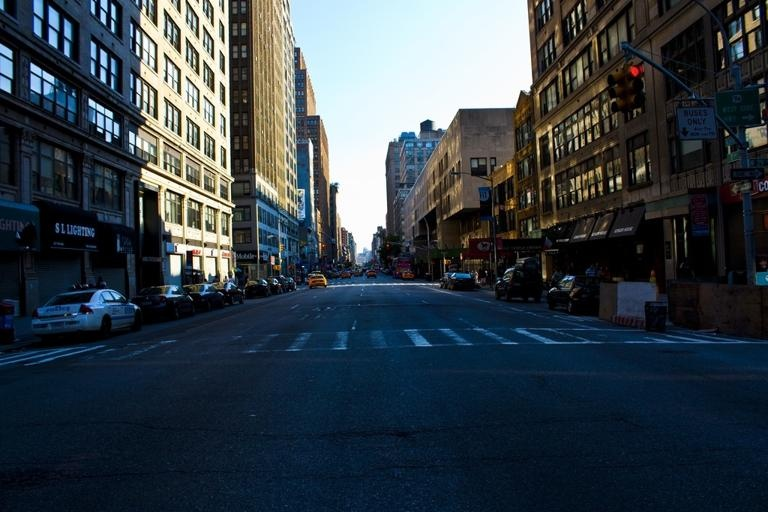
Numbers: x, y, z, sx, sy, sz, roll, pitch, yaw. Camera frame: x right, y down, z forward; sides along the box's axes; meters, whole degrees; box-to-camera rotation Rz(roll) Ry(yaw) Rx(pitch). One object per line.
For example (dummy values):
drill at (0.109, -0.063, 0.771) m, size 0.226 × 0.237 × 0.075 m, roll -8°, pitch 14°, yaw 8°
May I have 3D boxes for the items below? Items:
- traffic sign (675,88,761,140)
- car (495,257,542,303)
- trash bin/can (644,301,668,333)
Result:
traffic sign at (11.985, -5.023, 23.796) m, size 2.042 × 1.614 × 2.402 m, roll -1°, pitch -6°, yaw -4°
car at (8.460, 1.610, 40.419) m, size 2.184 × 2.735 × 3.267 m, roll -2°, pitch 7°, yaw 1°
trash bin/can at (9.955, 2.252, 24.098) m, size 0.875 × 1.462 × 0.915 m, roll 1°, pitch -7°, yaw 5°
